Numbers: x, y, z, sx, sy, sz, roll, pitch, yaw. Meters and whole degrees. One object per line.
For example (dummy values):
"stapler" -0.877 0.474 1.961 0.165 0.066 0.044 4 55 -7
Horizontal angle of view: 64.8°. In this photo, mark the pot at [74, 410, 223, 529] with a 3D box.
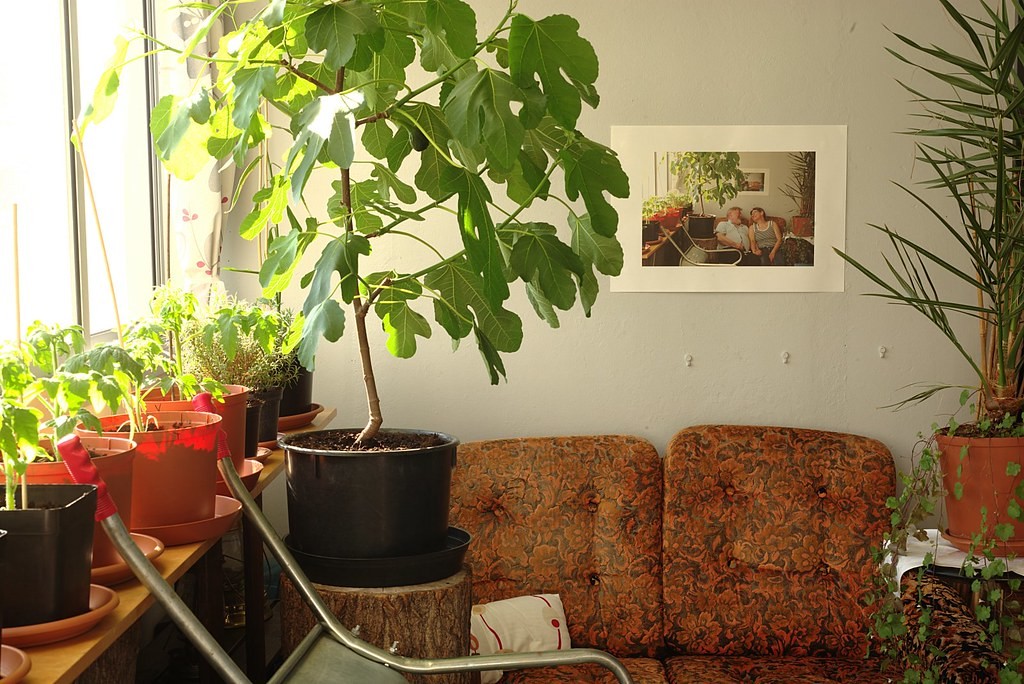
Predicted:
"pot" -0.810 0.277 1.837 0.245 0.215 0.280 0 -4 5

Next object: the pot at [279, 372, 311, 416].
"pot" -0.765 0.184 2.891 0.129 0.144 0.141 1 5 0

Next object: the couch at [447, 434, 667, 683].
"couch" 0.182 0.799 3.130 0.803 0.817 0.360 1 5 11

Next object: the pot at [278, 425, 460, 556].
"pot" -0.352 0.341 1.989 0.322 0.201 0.331 0 -3 0

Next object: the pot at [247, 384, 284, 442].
"pot" -0.756 0.223 2.526 0.138 0.161 0.139 2 6 0

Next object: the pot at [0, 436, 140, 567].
"pot" -0.929 0.317 1.706 0.243 0.193 0.231 0 0 0

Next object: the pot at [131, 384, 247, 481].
"pot" -0.843 0.229 2.141 0.223 0.192 0.242 1 0 0
